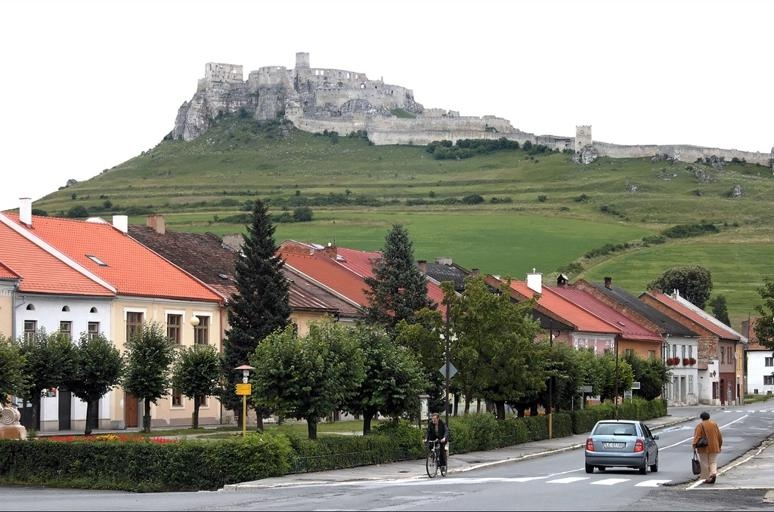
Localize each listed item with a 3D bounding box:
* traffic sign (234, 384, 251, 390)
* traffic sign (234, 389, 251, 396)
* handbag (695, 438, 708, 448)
[{"bbox_3d":[-10.272,9.550,121.397,0.841,0.706,1.043,-3,-9,2],"label":"traffic sign"},{"bbox_3d":[-10.371,9.779,121.374,1.122,0.615,1.043,1,-5,-4],"label":"traffic sign"},{"bbox_3d":[22.123,13.132,118.179,0.809,0.627,0.318,-1,5,22],"label":"handbag"}]
